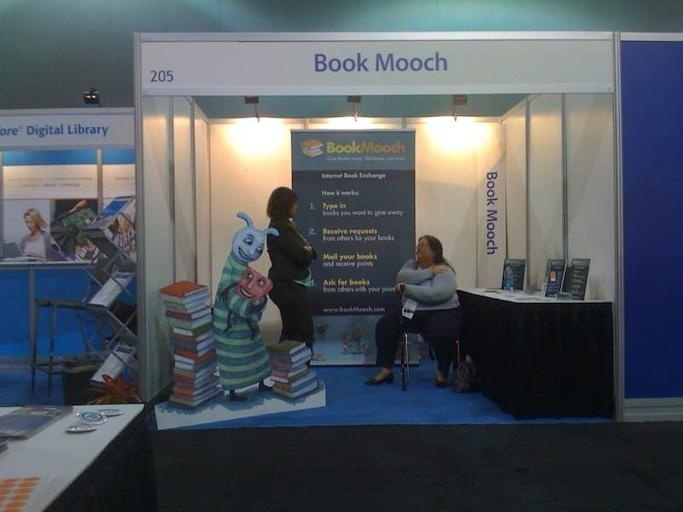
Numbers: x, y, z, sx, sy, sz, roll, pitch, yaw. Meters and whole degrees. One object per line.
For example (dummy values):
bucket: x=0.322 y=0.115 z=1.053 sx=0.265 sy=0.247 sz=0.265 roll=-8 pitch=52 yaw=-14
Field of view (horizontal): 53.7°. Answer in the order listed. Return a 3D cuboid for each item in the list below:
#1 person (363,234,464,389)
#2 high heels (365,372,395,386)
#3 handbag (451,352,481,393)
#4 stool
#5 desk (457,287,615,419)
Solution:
person: x=0.782 y=0.537 z=7.083 sx=0.868 sy=1.652 sz=0.886 roll=-1 pitch=-6 yaw=14
high heels: x=0.385 y=1.265 z=6.877 sx=0.287 sy=0.136 sz=0.112 roll=2 pitch=-7 yaw=-10
handbag: x=1.216 y=1.133 z=6.679 sx=0.288 sy=0.591 sz=0.298 roll=2 pitch=4 yaw=18
stool: x=0.909 y=1.073 z=6.971 sx=0.580 sy=0.836 sz=0.482 roll=0 pitch=1 yaw=8
desk: x=2.128 y=0.587 z=6.976 sx=1.111 sy=1.141 sz=2.196 roll=-1 pitch=18 yaw=14
